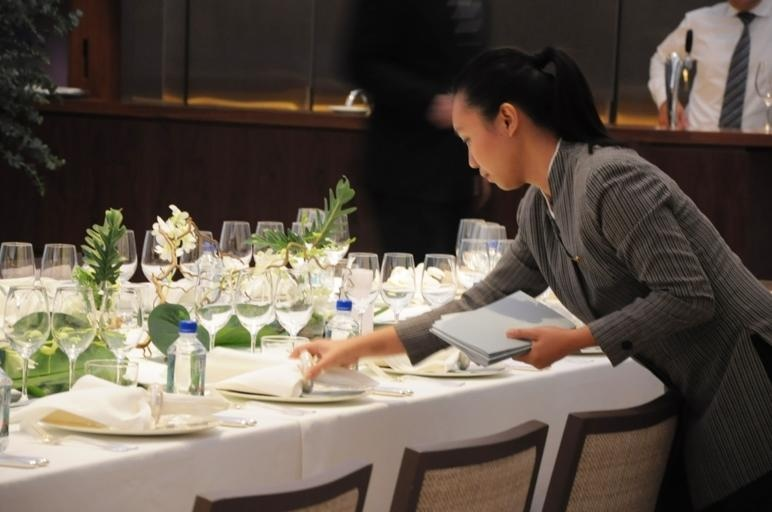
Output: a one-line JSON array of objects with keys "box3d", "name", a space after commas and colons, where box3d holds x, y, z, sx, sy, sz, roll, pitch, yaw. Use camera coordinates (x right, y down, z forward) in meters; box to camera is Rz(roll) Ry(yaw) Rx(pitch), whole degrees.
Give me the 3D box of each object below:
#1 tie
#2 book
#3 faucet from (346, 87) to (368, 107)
[{"box3d": [2.618, -1.335, 4.706, 0.200, 0.986, 0.118, 9, -1, 33], "name": "tie"}, {"box3d": [0.314, 0.190, 1.794, 0.233, 0.075, 0.250, -16, 29, -30], "name": "book"}, {"box3d": [-0.241, -1.303, 5.160, 0.171, 0.179, 0.115, 5, -1, -4], "name": "faucet"}]
